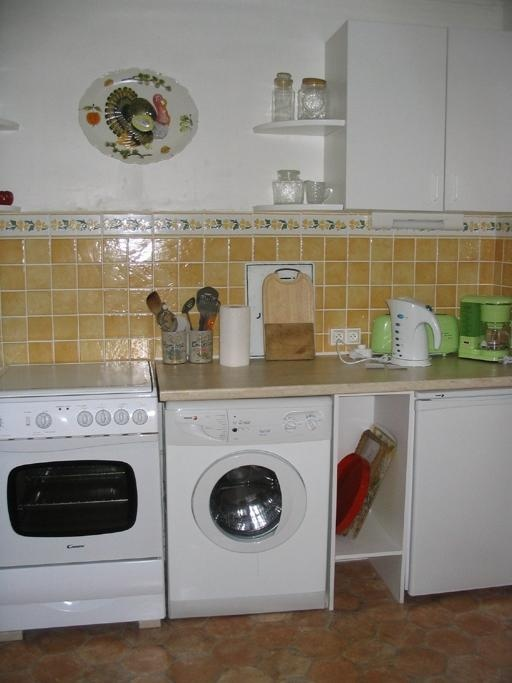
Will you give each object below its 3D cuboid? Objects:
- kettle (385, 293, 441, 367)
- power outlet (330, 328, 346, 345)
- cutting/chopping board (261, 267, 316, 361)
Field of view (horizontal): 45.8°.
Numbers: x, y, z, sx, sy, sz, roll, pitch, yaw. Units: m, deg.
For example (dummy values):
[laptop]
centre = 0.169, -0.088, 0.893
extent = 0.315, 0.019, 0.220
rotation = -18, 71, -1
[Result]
[kettle]
centre = 0.617, -0.028, 2.390
extent = 0.199, 0.265, 0.222
rotation = 2, 9, 10
[power outlet]
centre = 0.359, -0.024, 2.693
extent = 0.073, 0.068, 0.024
rotation = -2, 6, -11
[cutting/chopping board]
centre = 0.133, -0.106, 2.575
extent = 0.215, 0.361, 0.133
rotation = 0, 8, -3
